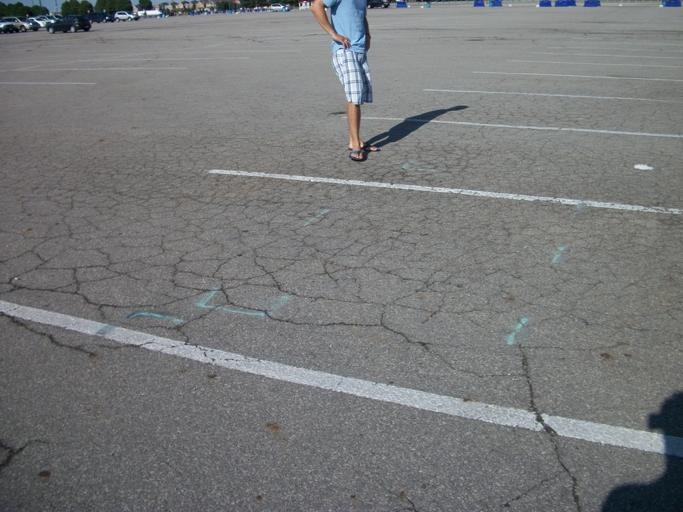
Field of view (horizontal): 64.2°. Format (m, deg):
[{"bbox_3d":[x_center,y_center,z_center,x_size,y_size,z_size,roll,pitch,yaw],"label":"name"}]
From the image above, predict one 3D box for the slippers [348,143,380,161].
[{"bbox_3d":[0.268,-1.297,6.803,0.294,0.073,0.386,-17,24,-35],"label":"slippers"}]
